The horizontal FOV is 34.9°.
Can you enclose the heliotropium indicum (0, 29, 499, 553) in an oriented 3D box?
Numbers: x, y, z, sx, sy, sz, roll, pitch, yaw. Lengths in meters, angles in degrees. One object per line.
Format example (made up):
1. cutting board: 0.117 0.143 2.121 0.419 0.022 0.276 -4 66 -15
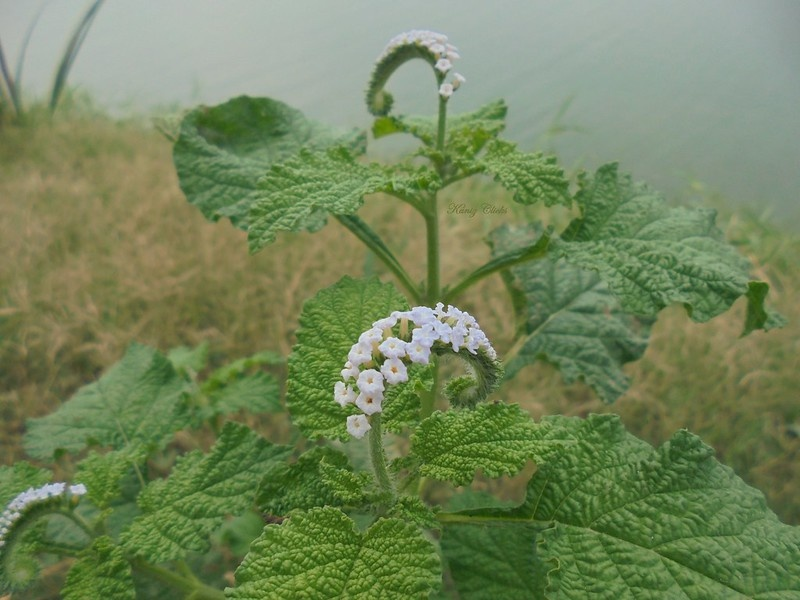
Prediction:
1. heliotropium indicum: -0.411 0.036 3.226 1.249 1.299 1.205 -2 15 -29
